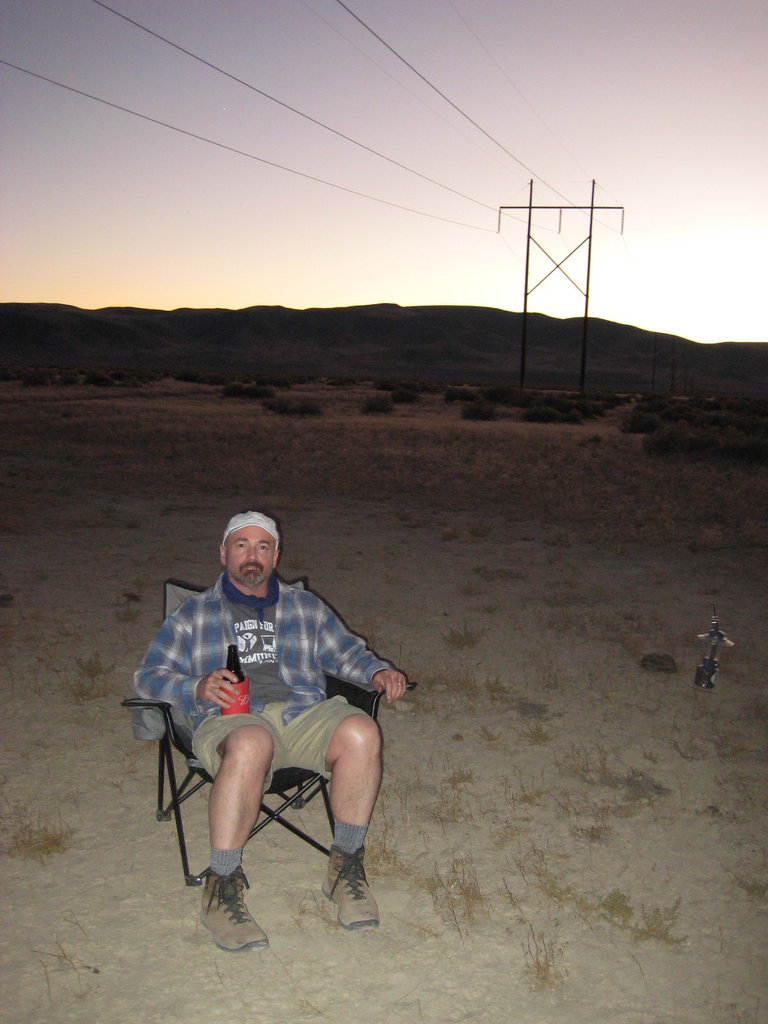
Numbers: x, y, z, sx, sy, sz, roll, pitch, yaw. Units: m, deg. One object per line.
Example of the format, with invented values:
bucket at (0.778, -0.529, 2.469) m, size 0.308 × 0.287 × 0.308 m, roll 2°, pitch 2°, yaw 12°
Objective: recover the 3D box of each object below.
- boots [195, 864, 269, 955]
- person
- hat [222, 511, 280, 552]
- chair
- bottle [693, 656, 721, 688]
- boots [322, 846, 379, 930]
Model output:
boots at (-0.535, 1.370, 2.900) m, size 0.198 × 0.252 × 0.240 m, roll -2°, pitch 11°, yaw -20°
person at (-0.388, 0.772, 3.228) m, size 1.043 × 1.441 × 0.983 m, roll -3°, pitch 12°, yaw -26°
hat at (-0.594, 0.087, 3.671) m, size 0.218 × 0.254 × 0.119 m, roll 3°, pitch 47°, yaw -6°
chair at (-0.382, 0.784, 3.574) m, size 1.445 × 1.330 × 1.036 m, roll 8°, pitch 39°, yaw 1°
bottle at (2.176, 1.045, 5.550) m, size 0.144 × 0.198 × 0.317 m, roll 6°, pitch 11°, yaw 22°
boots at (-0.119, 1.377, 3.072) m, size 0.149 × 0.241 × 0.247 m, roll -3°, pitch 11°, yaw -24°
